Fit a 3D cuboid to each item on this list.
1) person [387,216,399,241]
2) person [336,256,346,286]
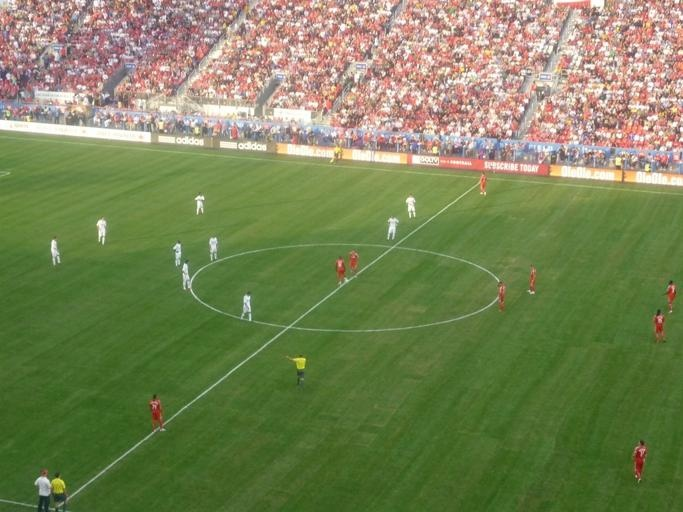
[{"bbox_3d":[3.656,-1.982,92.438,0.630,0.444,1.693,4,24,4],"label":"person"},{"bbox_3d":[0.001,0.838,85.291,0.701,1.876,1.599,4,19,-1],"label":"person"}]
